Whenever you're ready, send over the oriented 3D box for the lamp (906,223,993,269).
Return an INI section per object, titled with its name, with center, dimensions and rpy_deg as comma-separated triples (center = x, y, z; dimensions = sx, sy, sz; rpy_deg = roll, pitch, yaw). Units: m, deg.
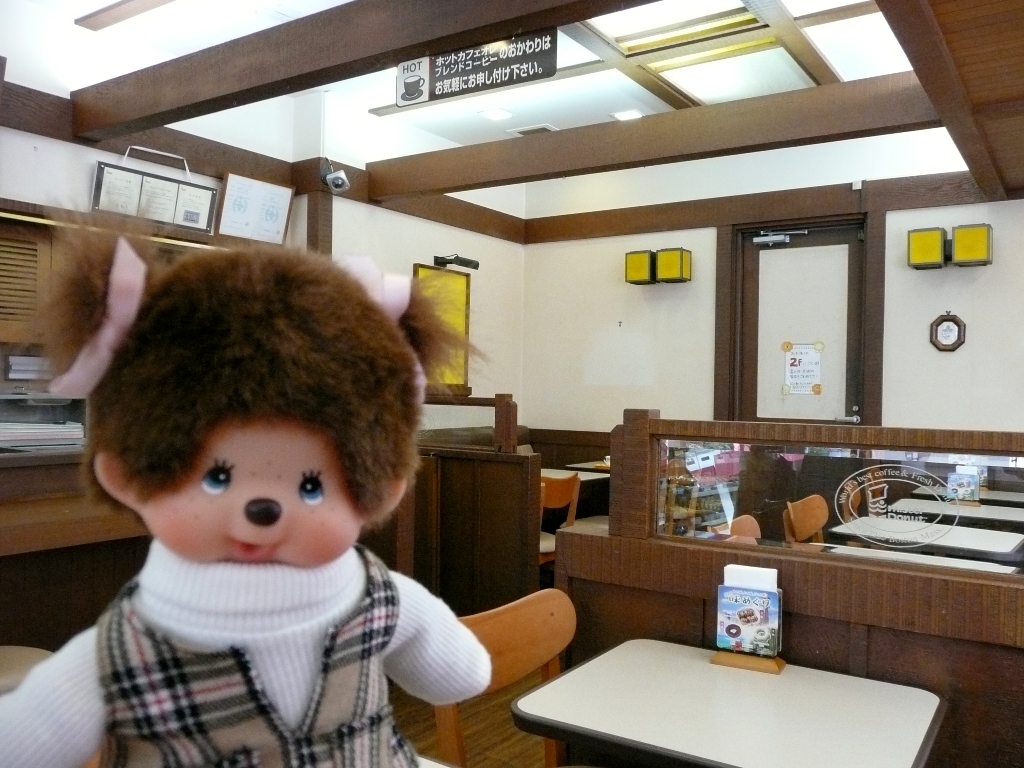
[lamp]
center = 2.723, -0.863, 4.807
dimensions = 0.301, 0.177, 0.088
rpy_deg = 1, 0, 43
